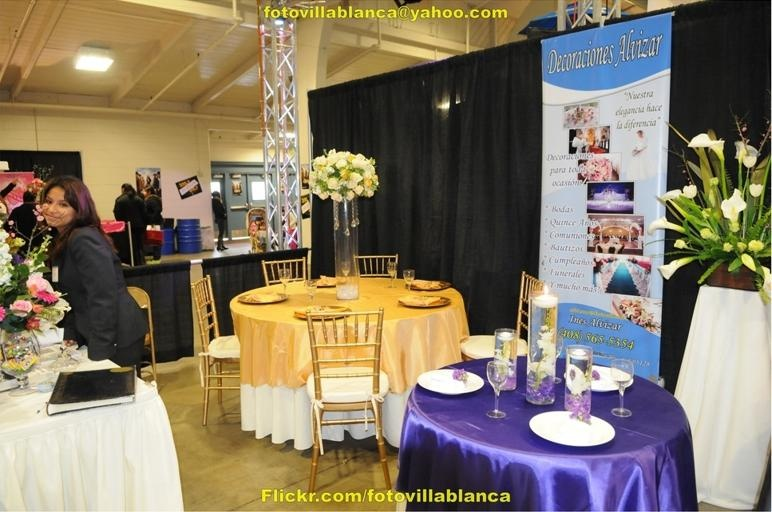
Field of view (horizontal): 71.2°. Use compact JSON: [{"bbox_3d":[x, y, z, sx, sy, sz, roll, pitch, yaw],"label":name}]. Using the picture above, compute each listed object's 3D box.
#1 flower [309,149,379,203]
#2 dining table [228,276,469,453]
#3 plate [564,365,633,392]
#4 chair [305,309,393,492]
[{"bbox_3d":[-0.355,-0.714,5.055,0.529,0.378,0.531,-2,-5,10],"label":"flower"},{"bbox_3d":[-0.367,0.744,4.989,1.557,0.816,1.521,0,4,2],"label":"dining table"},{"bbox_3d":[1.307,0.747,3.241,0.273,0.045,0.271,-4,11,-4],"label":"plate"},{"bbox_3d":[-0.301,1.052,4.239,0.640,1.366,0.641,-3,5,-3],"label":"chair"}]
